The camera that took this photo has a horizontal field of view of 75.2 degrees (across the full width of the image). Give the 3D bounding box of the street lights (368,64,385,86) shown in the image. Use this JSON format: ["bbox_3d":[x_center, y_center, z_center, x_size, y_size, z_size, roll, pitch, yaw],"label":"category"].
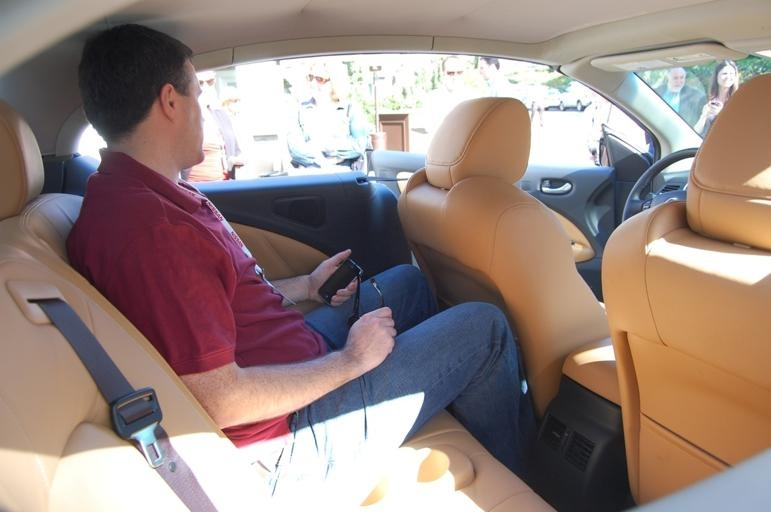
[{"bbox_3d":[-0.046,-0.864,2.386,0.068,0.077,0.003,1,64,4],"label":"street lights"}]

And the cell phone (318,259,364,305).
[{"bbox_3d":[-0.186,0.109,2.037,0.095,0.174,0.019,38,-1,3],"label":"cell phone"}]
